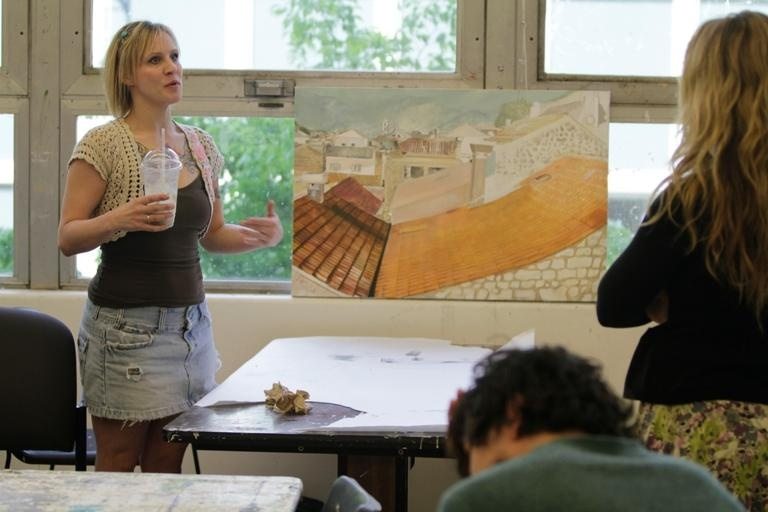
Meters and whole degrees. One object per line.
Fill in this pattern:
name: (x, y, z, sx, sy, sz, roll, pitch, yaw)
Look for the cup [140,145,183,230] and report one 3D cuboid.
cup: (-0.785, -0.235, 3.244, 0.134, 0.274, 0.162, -1, 7, -16)
